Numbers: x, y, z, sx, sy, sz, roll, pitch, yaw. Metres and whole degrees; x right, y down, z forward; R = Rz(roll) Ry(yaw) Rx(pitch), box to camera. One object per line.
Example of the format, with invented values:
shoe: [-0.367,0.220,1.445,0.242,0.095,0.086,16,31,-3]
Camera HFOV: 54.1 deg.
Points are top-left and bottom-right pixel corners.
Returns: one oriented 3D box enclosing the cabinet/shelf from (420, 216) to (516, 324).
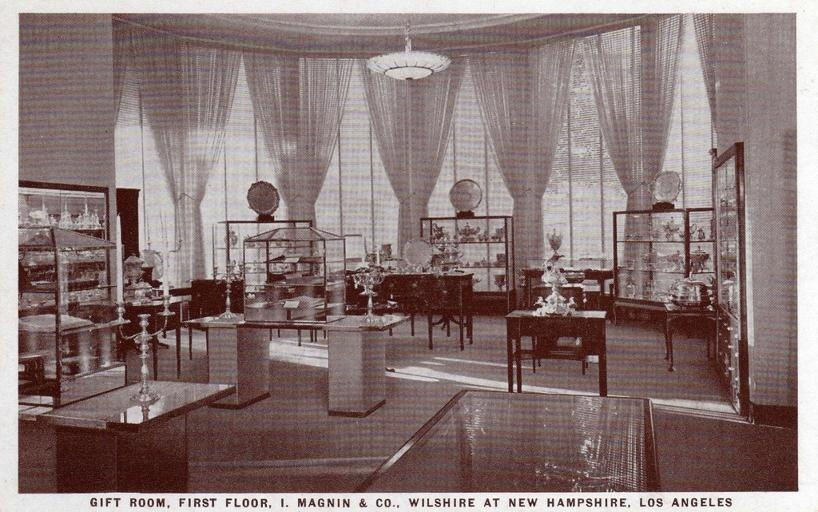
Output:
cabinet/shelf: [1.014,0.254,13.647,1.982,2.110,0.708,-1,-3,8]

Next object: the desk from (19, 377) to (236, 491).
desk: [-2.824,1.785,7.718,1.342,0.771,1.288,-1,-5,5]

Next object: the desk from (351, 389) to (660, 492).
desk: [1.156,1.869,7.996,2.572,0.833,1.067,-1,4,3]

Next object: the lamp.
lamp: [-0.016,-2.960,12.167,1.262,0.761,1.265,-5,-7,40]

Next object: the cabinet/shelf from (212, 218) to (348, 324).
cabinet/shelf: [-1.901,0.239,11.502,1.596,1.442,0.835,-1,-2,12]
